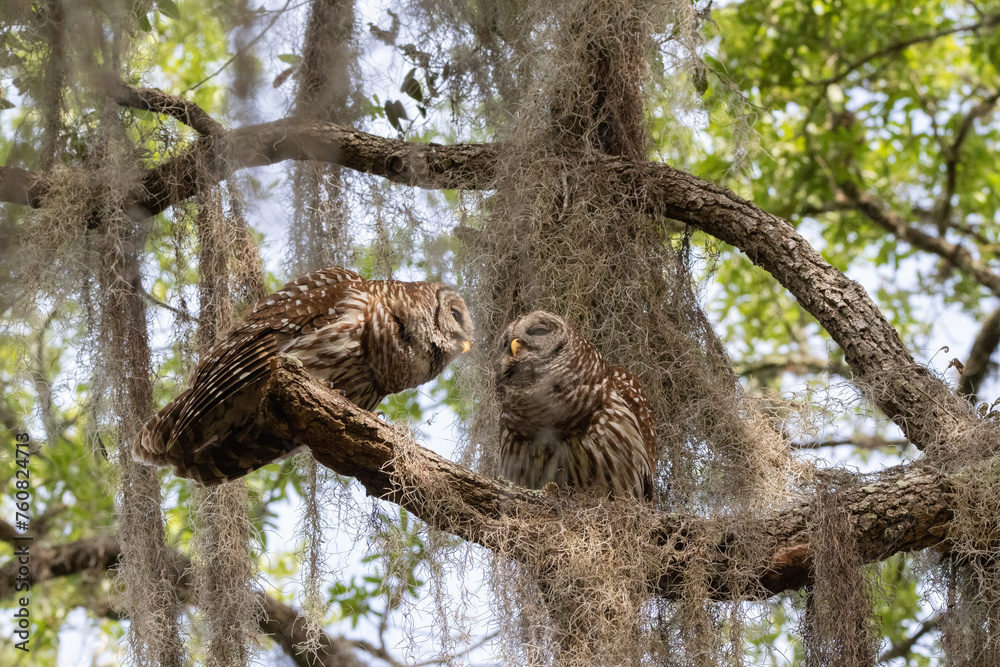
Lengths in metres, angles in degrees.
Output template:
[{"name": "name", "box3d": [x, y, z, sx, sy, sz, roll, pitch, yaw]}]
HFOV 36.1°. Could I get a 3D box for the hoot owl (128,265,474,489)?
[{"name": "hoot owl", "box3d": [-1.129, 0.202, 9.321, 1.943, 0.899, 1.120, -2, -75, -26]}]
